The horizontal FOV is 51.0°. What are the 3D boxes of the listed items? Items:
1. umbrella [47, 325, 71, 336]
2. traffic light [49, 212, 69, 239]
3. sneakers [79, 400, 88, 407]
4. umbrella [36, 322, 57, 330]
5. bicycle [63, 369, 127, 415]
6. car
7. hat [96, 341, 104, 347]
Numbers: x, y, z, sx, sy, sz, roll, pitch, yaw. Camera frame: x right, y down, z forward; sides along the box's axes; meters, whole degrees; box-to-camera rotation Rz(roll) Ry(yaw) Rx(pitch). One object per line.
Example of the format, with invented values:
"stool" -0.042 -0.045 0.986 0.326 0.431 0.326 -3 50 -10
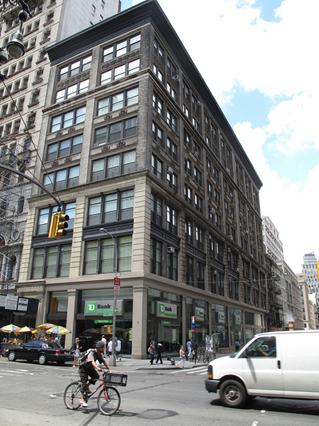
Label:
"umbrella" -7.957 9.247 26.381 1.720 0.595 1.675 7 -28 -5
"traffic light" -3.963 0.420 13.119 0.737 1.141 0.665 0 -22 2
"sneakers" -1.651 4.086 7.166 0.235 0.106 0.094 -6 -25 31
"umbrella" -9.473 9.428 27.947 1.506 0.495 1.467 -2 -29 5
"bicycle" -1.604 3.998 7.586 0.576 0.800 1.335 2 -20 40
"car" -7.586 8.755 20.979 4.409 1.352 0.853 -9 -24 24
"hat" -1.364 2.971 7.577 0.167 0.148 0.168 5 -7 -6
